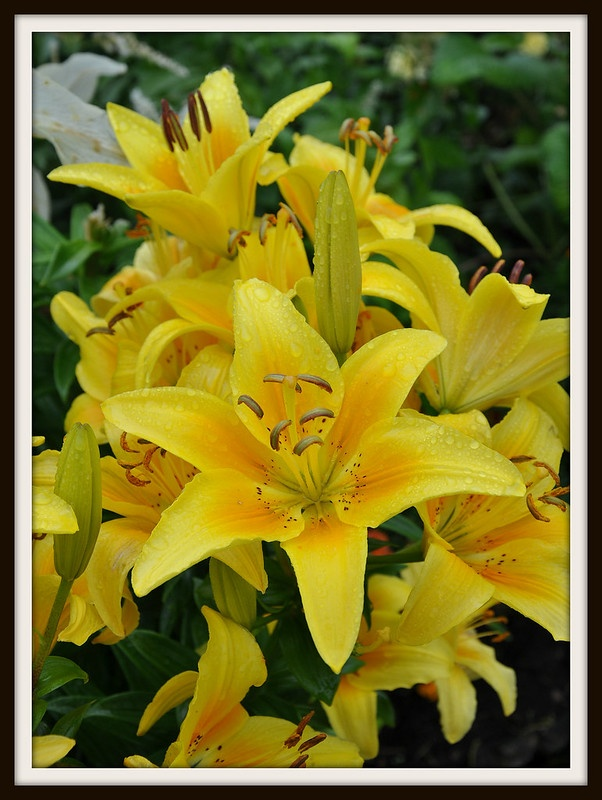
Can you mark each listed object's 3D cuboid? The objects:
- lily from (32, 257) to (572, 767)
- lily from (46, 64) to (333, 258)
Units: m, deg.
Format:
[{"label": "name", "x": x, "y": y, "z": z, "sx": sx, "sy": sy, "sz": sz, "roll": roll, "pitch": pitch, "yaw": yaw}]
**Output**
[{"label": "lily", "x": -0.008, "y": 0.100, "z": 0.941, "sx": 0.627, "sy": 0.546, "sz": 0.373, "roll": -8, "pitch": 7, "yaw": -6}, {"label": "lily", "x": -0.092, "y": -0.225, "z": 0.850, "sx": 0.280, "sy": 0.148, "sz": 0.245, "roll": -18, "pitch": 32, "yaw": -12}]
